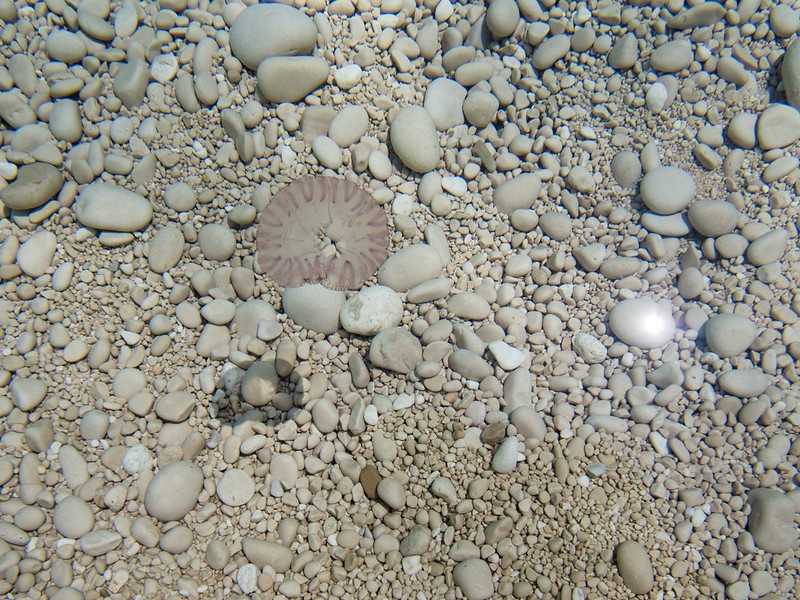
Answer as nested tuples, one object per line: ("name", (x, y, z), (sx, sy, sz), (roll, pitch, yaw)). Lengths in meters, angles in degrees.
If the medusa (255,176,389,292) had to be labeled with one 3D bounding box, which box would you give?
("medusa", (-0.253, -0.224, 2.636), (0.438, 0.046, 0.384), (5, 77, -2))
